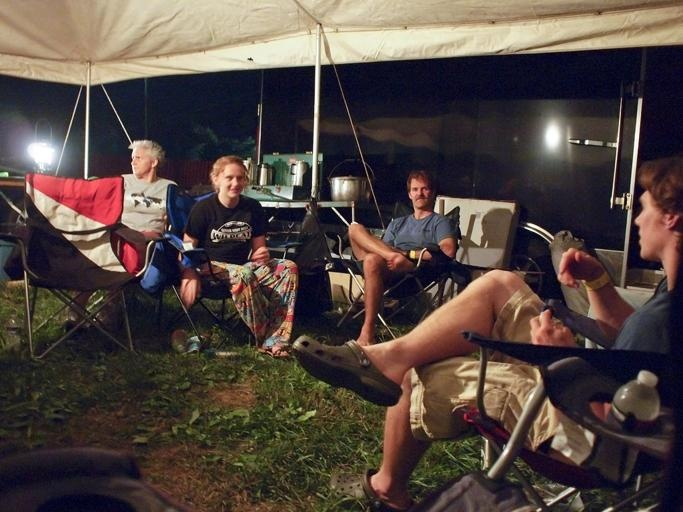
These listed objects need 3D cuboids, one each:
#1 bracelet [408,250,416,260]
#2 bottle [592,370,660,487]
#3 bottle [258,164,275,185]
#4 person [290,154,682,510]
[{"bbox_3d":[0.507,-0.008,4.234,0.039,0.041,0.072,12,37,-6],"label":"bracelet"},{"bbox_3d":[0.882,0.540,1.802,0.163,0.402,0.108,9,12,23],"label":"bottle"},{"bbox_3d":[-0.753,-0.823,5.876,0.128,0.239,0.230,0,1,-5],"label":"bottle"},{"bbox_3d":[0.577,0.252,2.952,1.522,1.985,0.947,8,6,20],"label":"person"}]
